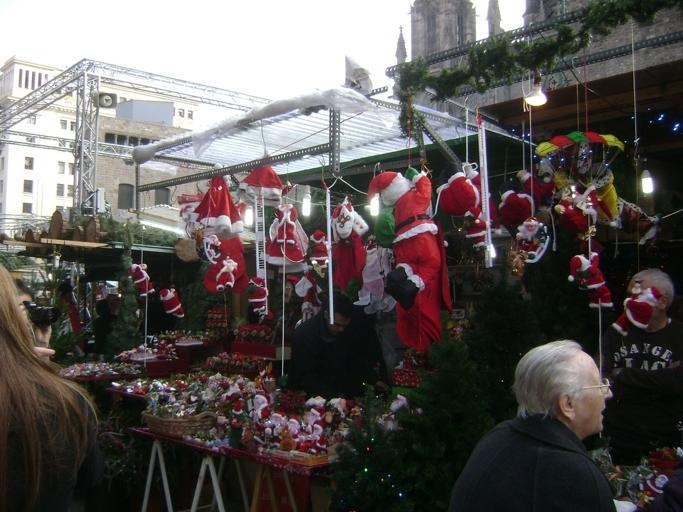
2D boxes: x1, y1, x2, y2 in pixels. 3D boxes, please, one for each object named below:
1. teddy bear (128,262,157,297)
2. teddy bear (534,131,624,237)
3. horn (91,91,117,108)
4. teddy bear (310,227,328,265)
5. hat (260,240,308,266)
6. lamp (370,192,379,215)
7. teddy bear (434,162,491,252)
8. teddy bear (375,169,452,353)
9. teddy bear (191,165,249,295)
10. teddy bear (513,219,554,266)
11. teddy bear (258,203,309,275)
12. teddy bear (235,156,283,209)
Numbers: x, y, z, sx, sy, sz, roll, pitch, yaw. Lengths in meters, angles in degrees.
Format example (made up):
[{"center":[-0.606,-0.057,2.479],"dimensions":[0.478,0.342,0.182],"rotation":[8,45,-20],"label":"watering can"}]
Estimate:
[{"center":[-2.655,0.297,9.791],"dimensions":[0.290,0.493,0.191],"rotation":[-18,9,24],"label":"teddy bear"},{"center":[2.024,-0.585,6.091],"dimensions":[0.649,0.808,0.776],"rotation":[-4,-1,20],"label":"teddy bear"},{"center":[-4.836,-3.142,14.893],"dimensions":[0.350,0.396,0.524],"rotation":[5,5,33],"label":"horn"},{"center":[-0.224,-0.076,7.384],"dimensions":[0.170,0.283,0.271],"rotation":[-3,-1,-5],"label":"teddy bear"},{"center":[-0.563,-0.023,7.161],"dimensions":[0.414,0.184,0.272],"rotation":[-4,-1,12],"label":"hat"},{"center":[0.310,-0.450,6.568],"dimensions":[0.034,0.139,0.149],"rotation":[7,-4,4],"label":"lamp"},{"center":[1.092,-0.363,5.974],"dimensions":[0.285,0.614,0.495],"rotation":[-36,43,-16],"label":"teddy bear"},{"center":[0.581,0.046,6.238],"dimensions":[0.640,1.566,0.739],"rotation":[-6,4,-30],"label":"teddy bear"},{"center":[-1.268,-0.226,7.721],"dimensions":[0.523,0.862,0.475],"rotation":[-3,-1,-13],"label":"teddy bear"},{"center":[1.650,-0.107,6.272],"dimensions":[0.295,0.381,0.171],"rotation":[1,-3,24],"label":"teddy bear"},{"center":[-0.533,-0.191,7.228],"dimensions":[0.366,0.626,0.521],"rotation":[10,-6,-35],"label":"teddy bear"},{"center":[-0.775,-0.715,7.167],"dimensions":[0.426,0.335,0.291],"rotation":[-3,-1,-5],"label":"teddy bear"}]
